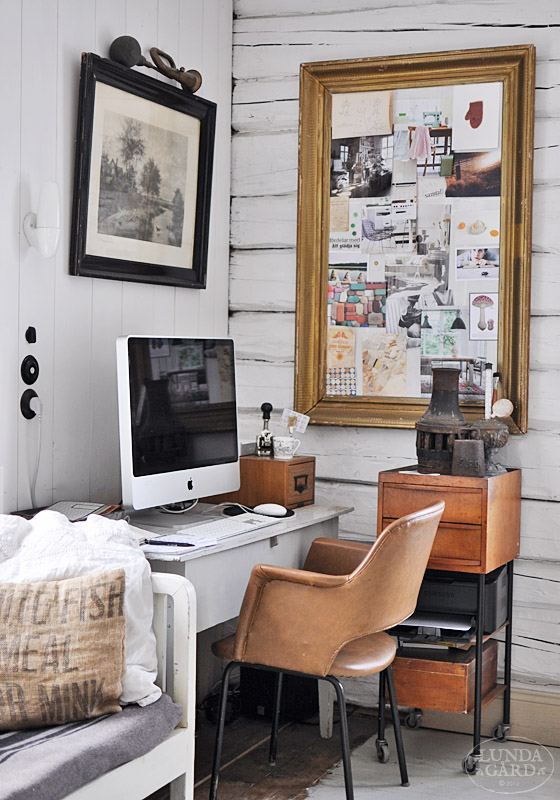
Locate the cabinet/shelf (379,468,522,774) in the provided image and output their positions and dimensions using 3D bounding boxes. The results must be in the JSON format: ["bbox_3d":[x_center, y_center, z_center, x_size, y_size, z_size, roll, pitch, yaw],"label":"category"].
[{"bbox_3d":[0.518,0.655,2.282,0.388,0.867,0.379,1,2,23],"label":"cabinet/shelf"}]

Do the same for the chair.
[{"bbox_3d":[0.110,0.565,2.156,0.686,0.975,0.681,0,-7,18],"label":"chair"}]

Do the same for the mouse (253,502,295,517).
[{"bbox_3d":[-0.031,0.318,2.199,0.080,0.024,0.059,-6,-6,44],"label":"mouse"}]

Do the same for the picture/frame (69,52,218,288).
[{"bbox_3d":[-0.415,-0.684,2.334,0.056,0.641,0.728,12,13,24],"label":"picture/frame"}]

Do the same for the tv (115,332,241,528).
[{"bbox_3d":[-0.289,0.088,2.023,0.069,0.460,0.533,-4,-3,23],"label":"tv"}]

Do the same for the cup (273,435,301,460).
[{"bbox_3d":[0.027,0.166,2.507,0.084,0.063,0.065,2,-5,3],"label":"cup"}]
